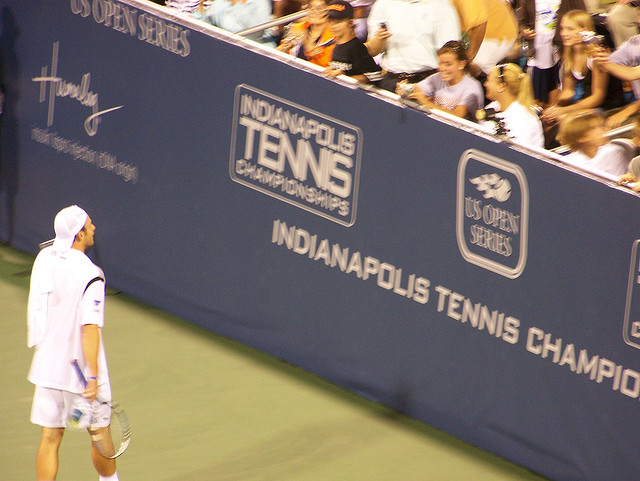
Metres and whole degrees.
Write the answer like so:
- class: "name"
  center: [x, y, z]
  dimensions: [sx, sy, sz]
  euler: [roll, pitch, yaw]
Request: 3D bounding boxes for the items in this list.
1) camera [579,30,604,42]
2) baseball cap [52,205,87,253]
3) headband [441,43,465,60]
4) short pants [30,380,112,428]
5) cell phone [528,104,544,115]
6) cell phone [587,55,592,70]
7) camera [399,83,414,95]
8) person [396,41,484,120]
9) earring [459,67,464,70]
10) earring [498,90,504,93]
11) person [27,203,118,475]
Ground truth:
- class: "camera"
  center: [2.124, -1.600, 9.715]
  dimensions: [0.104, 0.043, 0.109]
  euler: [14, -7, -10]
- class: "baseball cap"
  center: [-1.735, -0.088, 8.574]
  dimensions: [0.196, 0.311, 0.151]
  euler: [21, -9, 26]
- class: "headband"
  center: [1.042, -1.468, 9.618]
  dimensions: [0.119, 0.030, 0.124]
  euler: [37, 26, -12]
- class: "short pants"
  center: [-1.768, 1.254, 8.704]
  dimensions: [0.539, 0.406, 0.325]
  euler: [5, 3, -4]
- class: "cell phone"
  center: [1.666, -1.009, 9.573]
  dimensions: [0.120, 0.112, 0.025]
  euler: [12, -40, -39]
- class: "cell phone"
  center: [2.131, -1.409, 9.783]
  dimensions: [0.028, 0.091, 0.068]
  euler: [5, 5, -9]
- class: "camera"
  center: [0.676, -1.177, 9.643]
  dimensions: [0.105, 0.093, 0.276]
  euler: [7, 5, 2]
- class: "person"
  center: [1.013, -1.286, 9.790]
  dimensions: [0.652, 0.608, 0.959]
  euler: [9, 6, 29]
- class: "earring"
  center: [1.107, -1.343, 9.657]
  dimensions: [0.047, 0.017, 0.013]
  euler: [2, 7, -44]
- class: "earring"
  center: [1.387, -1.142, 9.479]
  dimensions: [0.012, 0.021, 0.043]
  euler: [2, 7, -38]
- class: "person"
  center: [-1.679, 0.725, 8.653]
  dimensions: [0.655, 1.903, 0.370]
  euler: [8, 6, 21]
